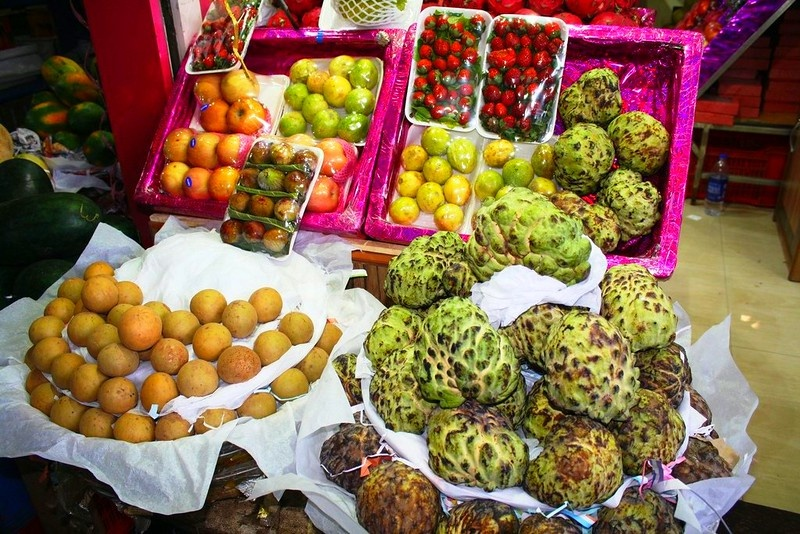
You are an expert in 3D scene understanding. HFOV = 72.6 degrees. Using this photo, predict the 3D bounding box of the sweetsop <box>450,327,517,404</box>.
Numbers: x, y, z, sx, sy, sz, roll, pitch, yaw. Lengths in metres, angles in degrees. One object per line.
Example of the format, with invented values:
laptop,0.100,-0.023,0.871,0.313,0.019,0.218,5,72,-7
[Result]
sweetsop,0.269,0.313,1.744,0.210,0.218,0.135,0,29,-24

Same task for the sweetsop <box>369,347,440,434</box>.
sweetsop,0.000,0.417,1.863,0.223,0.282,0.125,-1,-15,9

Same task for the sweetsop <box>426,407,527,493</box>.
sweetsop,0.239,0.550,1.774,0.284,0.177,0.222,13,-5,30

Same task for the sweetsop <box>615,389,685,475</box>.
sweetsop,0.836,0.525,1.850,0.201,0.162,0.276,7,39,43

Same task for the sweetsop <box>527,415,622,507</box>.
sweetsop,0.539,0.583,1.746,0.294,0.332,0.181,-1,-3,-4

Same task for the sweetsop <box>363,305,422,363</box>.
sweetsop,-0.025,0.244,2.061,0.133,0.216,0.164,47,9,18

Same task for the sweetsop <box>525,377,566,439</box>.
sweetsop,0.491,0.473,1.850,0.132,0.177,0.099,-5,-4,-5

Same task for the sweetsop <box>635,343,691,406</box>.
sweetsop,0.913,0.387,2.004,0.229,0.206,0.176,13,-15,19

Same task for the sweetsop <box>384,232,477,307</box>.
sweetsop,0.105,-0.001,1.993,0.294,0.255,0.145,-7,-15,0

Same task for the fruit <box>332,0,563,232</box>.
fruit,0.199,-0.738,3.042,0.862,1.274,0.378,14,12,9

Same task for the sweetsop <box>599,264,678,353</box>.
sweetsop,0.890,0.177,2.041,0.272,0.260,0.442,-4,8,5

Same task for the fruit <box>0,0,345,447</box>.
fruit,-0.903,0.081,2.291,1.186,0.962,1.179,-9,35,-37

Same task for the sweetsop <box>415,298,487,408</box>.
sweetsop,0.170,0.261,1.802,0.242,0.339,0.192,5,-4,7

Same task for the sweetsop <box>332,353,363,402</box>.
sweetsop,-0.197,0.420,2.066,0.113,0.152,0.067,6,-24,3

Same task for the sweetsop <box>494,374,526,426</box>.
sweetsop,0.405,0.457,1.883,0.097,0.165,0.127,25,-28,-22

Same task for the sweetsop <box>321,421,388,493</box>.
sweetsop,-0.167,0.648,1.929,0.179,0.127,0.216,-34,26,-1
